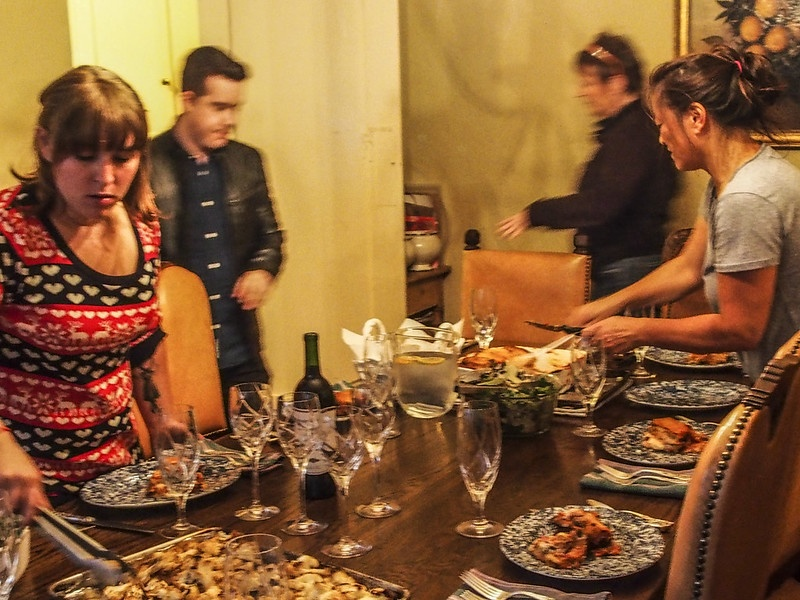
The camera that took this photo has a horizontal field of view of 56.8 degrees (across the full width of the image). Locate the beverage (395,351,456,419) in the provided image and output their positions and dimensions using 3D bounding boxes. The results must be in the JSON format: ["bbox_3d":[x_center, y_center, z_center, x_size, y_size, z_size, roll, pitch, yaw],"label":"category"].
[{"bbox_3d":[0.069,0.201,1.794,0.233,0.151,0.180,0,8,6],"label":"beverage"}]

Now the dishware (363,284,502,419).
[{"bbox_3d":[0.060,0.168,1.778,0.223,0.158,0.297,9,14,25],"label":"dishware"}]

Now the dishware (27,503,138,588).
[{"bbox_3d":[-0.507,0.400,1.175,0.061,0.085,0.314,-20,21,-38],"label":"dishware"}]

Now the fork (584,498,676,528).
[{"bbox_3d":[0.398,0.375,1.290,0.191,0.017,0.016,5,55,30],"label":"fork"}]

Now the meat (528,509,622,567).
[{"bbox_3d":[0.277,0.386,1.188,0.090,0.023,0.111,13,24,29],"label":"meat"}]

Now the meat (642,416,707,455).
[{"bbox_3d":[0.577,0.291,1.555,0.119,0.021,0.083,1,16,3],"label":"meat"}]
